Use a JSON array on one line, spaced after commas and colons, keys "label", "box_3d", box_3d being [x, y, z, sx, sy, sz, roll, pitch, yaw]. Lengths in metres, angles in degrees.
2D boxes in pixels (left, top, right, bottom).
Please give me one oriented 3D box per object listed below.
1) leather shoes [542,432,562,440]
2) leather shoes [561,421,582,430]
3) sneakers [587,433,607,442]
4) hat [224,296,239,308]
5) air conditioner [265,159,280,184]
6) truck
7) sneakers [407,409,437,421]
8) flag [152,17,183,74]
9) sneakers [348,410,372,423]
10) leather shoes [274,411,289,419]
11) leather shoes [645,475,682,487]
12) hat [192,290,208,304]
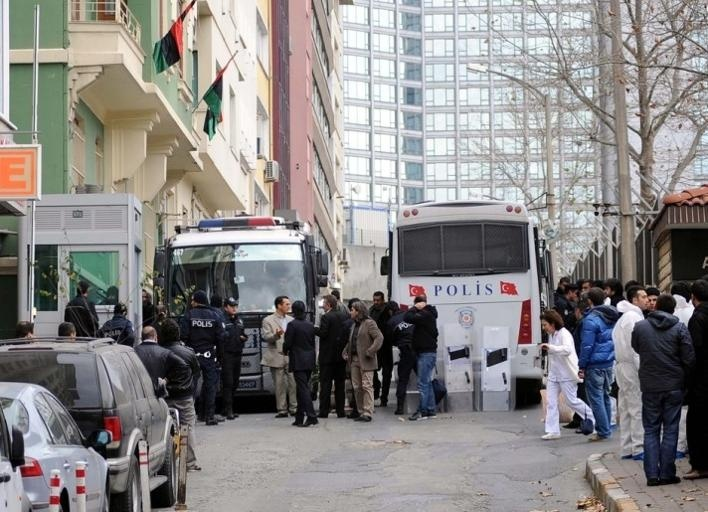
[{"label": "leather shoes", "box_3d": [3.588, 3.162, 21.418, 0.336, 0.148, 0.119, 3, -1, -7]}, {"label": "leather shoes", "box_3d": [4.232, 3.181, 22.927, 0.320, 0.139, 0.111, 1, -4, 24]}, {"label": "sneakers", "box_3d": [4.332, 3.130, 21.133, 0.374, 0.162, 0.114, -25, -19, 40]}, {"label": "hat", "box_3d": [-2.653, 1.080, 25.183, 0.262, 0.261, 0.206, -15, 1, 19]}, {"label": "air conditioner", "box_3d": [-3.515, -3.083, 49.887, 0.393, 0.665, 1.140, 0, -1, 2]}, {"label": "truck", "box_3d": [-2.505, 0.454, 25.368, 2.306, 2.556, 5.125, -1, -8, 1]}, {"label": "sneakers", "box_3d": [1.421, 3.244, 24.702, 0.576, 0.224, 0.197, 4, -4, -33]}, {"label": "flag", "box_3d": [-4.537, -4.580, 28.427, 0.197, 1.254, 1.427, 11, -25, -38]}, {"label": "sneakers", "box_3d": [0.092, 3.253, 24.573, 0.176, 0.240, 0.559, 2, -12, -36]}, {"label": "leather shoes", "box_3d": [-1.578, 3.348, 25.605, 0.290, 0.127, 0.107, 6, -8, -28]}, {"label": "leather shoes", "box_3d": [4.302, 3.013, 16.456, 0.456, 0.196, 0.157, -2, 0, -15]}, {"label": "hat", "box_3d": [-3.045, 0.882, 23.326, 0.238, 0.272, 0.313, 2, -4, -12]}]
